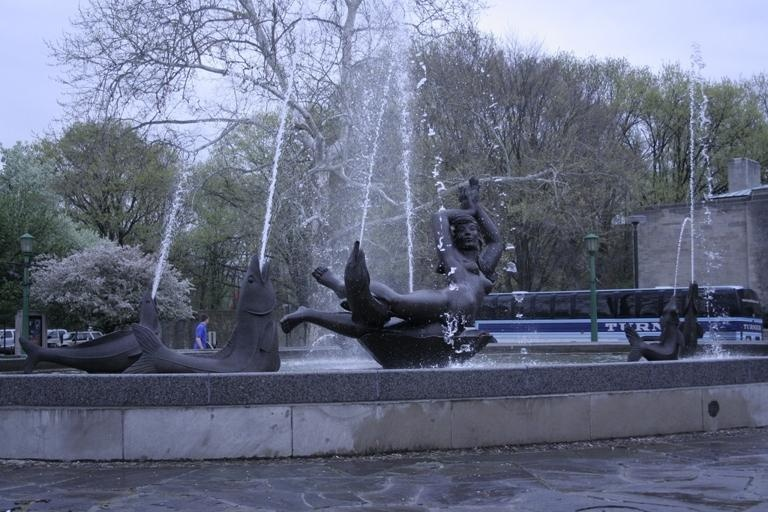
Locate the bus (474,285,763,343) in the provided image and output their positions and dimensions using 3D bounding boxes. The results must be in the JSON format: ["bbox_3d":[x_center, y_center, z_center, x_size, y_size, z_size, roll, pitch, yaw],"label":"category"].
[{"bbox_3d":[8.547,2.157,34.912,6.634,1.781,1.996,-8,-13,41],"label":"bus"}]
